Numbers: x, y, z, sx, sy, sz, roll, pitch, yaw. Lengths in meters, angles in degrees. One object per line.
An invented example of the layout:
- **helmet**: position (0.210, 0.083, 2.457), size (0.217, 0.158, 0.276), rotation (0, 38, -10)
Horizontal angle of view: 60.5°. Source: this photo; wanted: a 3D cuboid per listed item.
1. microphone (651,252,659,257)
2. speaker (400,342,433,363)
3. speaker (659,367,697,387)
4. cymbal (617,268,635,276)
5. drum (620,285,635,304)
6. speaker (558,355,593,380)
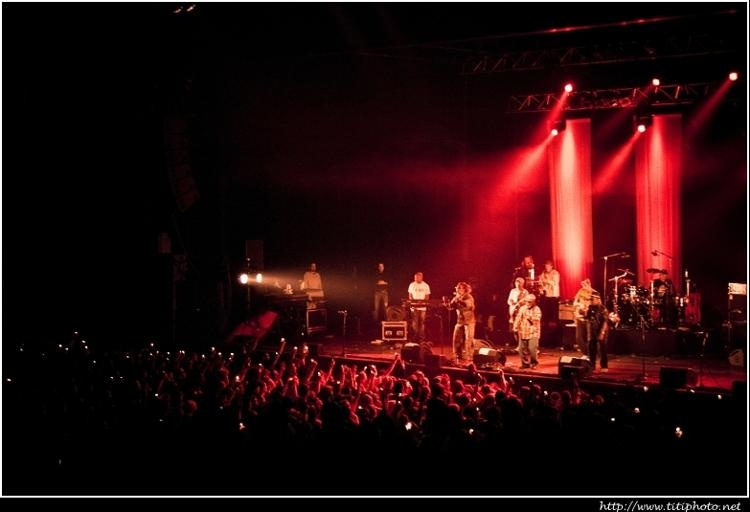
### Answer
- **microphone**: position (7.222, -0.066, 16.518), size (0.107, 0.113, 0.067), rotation (9, 30, 45)
- **speaker**: position (0.941, 2.090, 14.008), size (0.468, 0.339, 0.481), rotation (-1, 2, -39)
- **speaker**: position (5.491, 2.177, 11.654), size (0.629, 0.460, 0.349), rotation (-2, -3, 12)
- **cymbal**: position (6.613, 0.417, 16.846), size (0.313, 0.158, 0.327), rotation (-3, 0, 35)
- **drum**: position (6.129, 0.898, 15.476), size (0.314, 0.363, 0.173), rotation (-9, -12, 32)
- **speaker**: position (3.908, 2.159, 12.579), size (0.470, 0.360, 0.502), rotation (-5, 4, -37)
